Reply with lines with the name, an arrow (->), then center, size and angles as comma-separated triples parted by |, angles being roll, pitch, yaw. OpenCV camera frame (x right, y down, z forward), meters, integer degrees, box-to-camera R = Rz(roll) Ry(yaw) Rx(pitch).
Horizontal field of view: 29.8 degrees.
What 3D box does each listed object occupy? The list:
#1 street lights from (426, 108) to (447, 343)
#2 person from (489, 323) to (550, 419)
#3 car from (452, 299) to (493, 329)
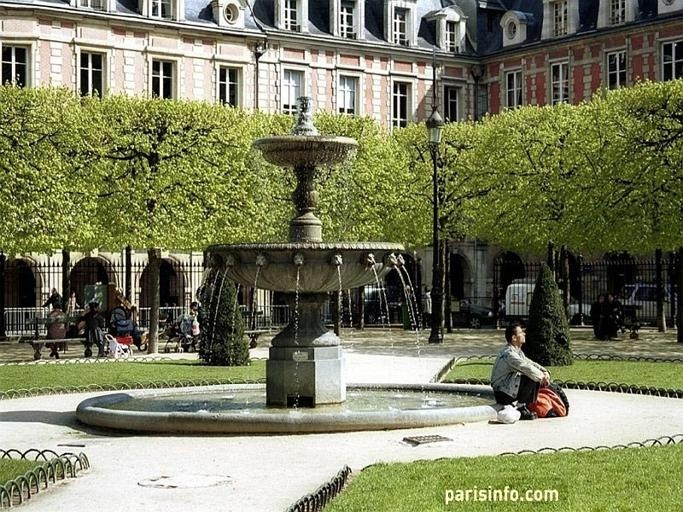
street lights -> 2.917, -0.654, 38.018 | 0.708, 7.998, 0.725 | -1, 7, 2
person -> 2.974, 1.945, 21.440 | 0.907, 1.349, 1.043 | -1, 0, 6
car -> 4.970, 2.223, 48.376 | 1.545, 0.860, 0.854 | -3, 3, 1
